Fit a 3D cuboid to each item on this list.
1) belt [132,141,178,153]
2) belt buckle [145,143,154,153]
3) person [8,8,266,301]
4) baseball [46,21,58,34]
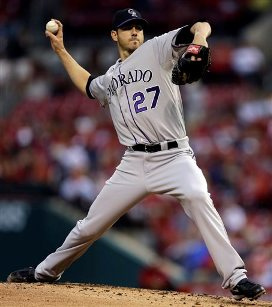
[{"bbox_3d":[0.100,-0.034,2.762,0.271,0.072,0.071,1,-4,33],"label":"belt"},{"bbox_3d":[0.065,-0.022,2.741,0.034,0.033,0.009,21,16,32],"label":"belt buckle"},{"bbox_3d":[0.047,-0.013,2.859,0.535,1.681,1.387,6,-5,-43],"label":"person"},{"bbox_3d":[-0.586,-0.870,3.378,0.076,0.076,0.076,0,-4,-2],"label":"baseball"}]
